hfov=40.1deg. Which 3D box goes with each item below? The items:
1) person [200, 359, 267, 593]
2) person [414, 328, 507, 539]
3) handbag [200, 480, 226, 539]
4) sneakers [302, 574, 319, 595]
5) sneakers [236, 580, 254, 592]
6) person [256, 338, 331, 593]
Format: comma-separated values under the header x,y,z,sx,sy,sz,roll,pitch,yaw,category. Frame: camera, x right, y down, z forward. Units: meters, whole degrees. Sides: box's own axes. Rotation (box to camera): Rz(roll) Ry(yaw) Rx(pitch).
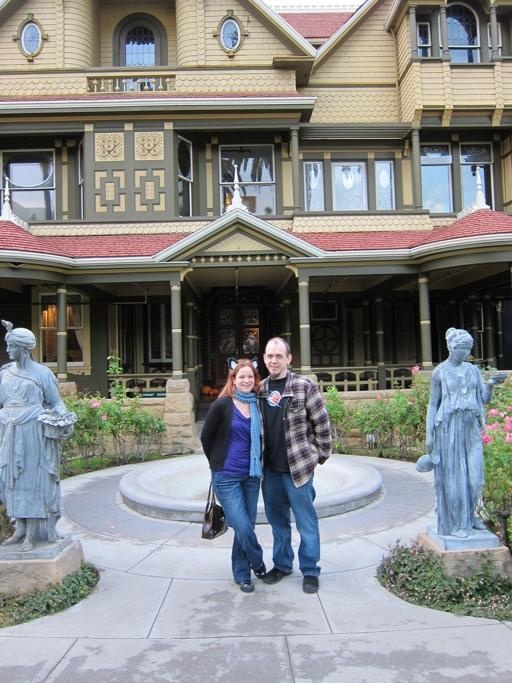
x,y,z,sx,sy,sz,roll,pitch,yaw,category
-0.130,1.011,5.427,0.400,1.720,0.447,2,6,39,person
1.517,0.701,5.294,0.605,1.585,0.357,-1,5,12,person
-0.319,1.288,5.402,0.183,0.458,0.336,-2,5,-3,handbag
0.409,1.825,5.350,0.122,0.106,0.199,-2,5,3,sneakers
-0.076,1.853,5.326,0.130,0.061,0.097,-2,5,0,sneakers
0.275,0.924,5.418,0.532,1.906,0.415,0,5,20,person
